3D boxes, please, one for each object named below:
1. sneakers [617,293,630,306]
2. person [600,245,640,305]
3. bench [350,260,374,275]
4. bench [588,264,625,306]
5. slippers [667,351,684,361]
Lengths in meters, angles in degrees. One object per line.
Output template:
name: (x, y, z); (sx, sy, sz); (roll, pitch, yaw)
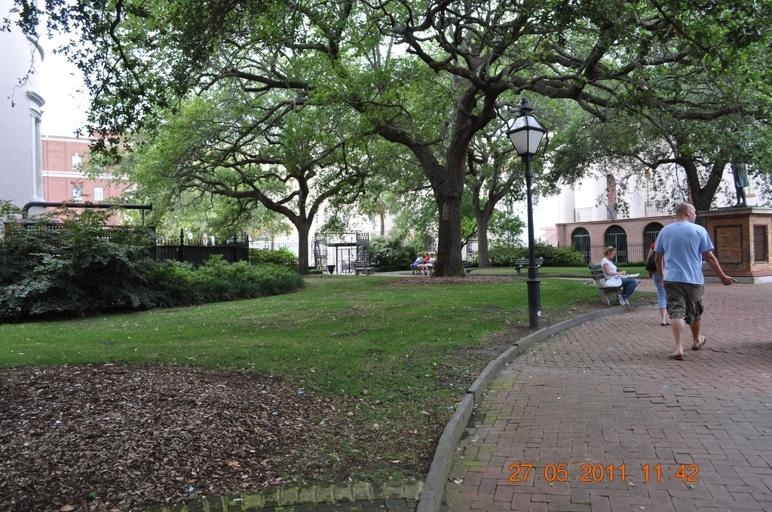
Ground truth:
sneakers: (7.404, 1.375, 18.546); (0.196, 0.244, 0.588); (-24, 2, 8)
person: (7.321, 0.616, 18.591); (1.108, 1.881, 0.776); (-3, 0, 18)
bench: (-1.697, 0.827, 41.991); (1.229, 0.726, 1.217); (0, -2, 3)
bench: (7.226, 0.844, 19.113); (1.085, 1.358, 1.483); (-1, 2, 29)
slippers: (5.688, 1.909, 11.618); (0.264, 0.146, 0.420); (6, 12, 25)
